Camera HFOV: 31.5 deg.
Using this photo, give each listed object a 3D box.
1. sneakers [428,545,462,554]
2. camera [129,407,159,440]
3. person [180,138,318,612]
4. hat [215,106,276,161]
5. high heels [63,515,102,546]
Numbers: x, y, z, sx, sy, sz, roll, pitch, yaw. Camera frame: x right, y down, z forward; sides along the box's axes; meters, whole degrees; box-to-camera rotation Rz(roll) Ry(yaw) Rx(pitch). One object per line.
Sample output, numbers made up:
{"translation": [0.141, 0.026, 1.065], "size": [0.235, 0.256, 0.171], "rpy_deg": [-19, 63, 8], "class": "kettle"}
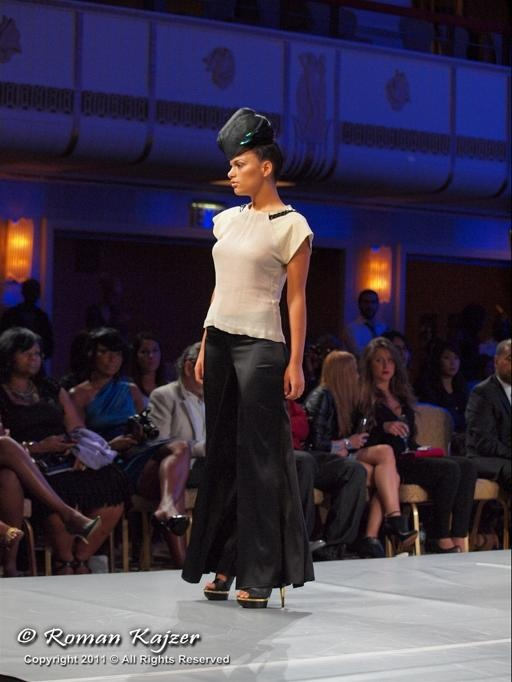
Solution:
{"translation": [0.785, 0.863, 3.785], "size": [0.138, 0.048, 0.044], "rpy_deg": [-3, -8, 16], "class": "sneakers"}
{"translation": [-0.453, 0.324, 3.585], "size": [0.108, 0.100, 0.110], "rpy_deg": [9, -6, 28], "class": "camera"}
{"translation": [-0.022, 0.074, 2.395], "size": [0.327, 1.211, 0.136], "rpy_deg": [-2, -6, 31], "class": "person"}
{"translation": [-0.036, -0.548, 2.465], "size": [0.173, 0.115, 0.124], "rpy_deg": [-9, 8, 21], "class": "hat"}
{"translation": [-0.621, 0.678, 3.258], "size": [0.101, 0.089, 0.098], "rpy_deg": [1, -5, -1], "class": "high heels"}
